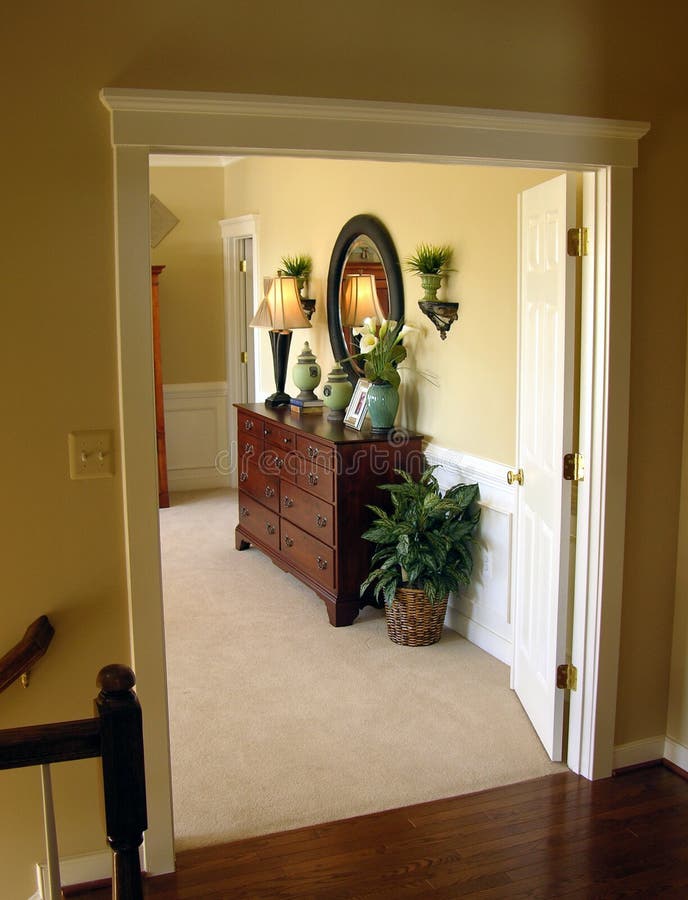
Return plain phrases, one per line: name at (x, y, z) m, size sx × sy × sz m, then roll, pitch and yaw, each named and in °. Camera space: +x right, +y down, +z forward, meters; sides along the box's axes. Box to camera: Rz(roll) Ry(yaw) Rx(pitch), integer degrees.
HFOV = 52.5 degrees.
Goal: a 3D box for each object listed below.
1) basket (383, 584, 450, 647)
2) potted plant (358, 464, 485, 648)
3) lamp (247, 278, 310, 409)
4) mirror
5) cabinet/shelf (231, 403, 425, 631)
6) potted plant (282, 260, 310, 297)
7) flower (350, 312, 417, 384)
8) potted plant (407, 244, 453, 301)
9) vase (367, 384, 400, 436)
basket at (0.345, 0.795, 3.463) m, size 0.249 × 0.244 × 0.300 m, roll 0°, pitch 1°, yaw -6°
potted plant at (0.365, 0.523, 3.437) m, size 0.596 × 0.858 × 0.503 m, roll 0°, pitch 6°, yaw 9°
lamp at (-0.447, -0.793, 4.909) m, size 0.389 × 0.963 × 0.672 m, roll -1°, pitch 6°, yaw -6°
mirror at (0.145, -0.914, 4.094) m, size 0.078 × 1.171 × 0.986 m, roll -2°, pitch -4°, yaw -20°
cabinet/shelf at (-0.056, 0.370, 3.780) m, size 0.360 × 0.729 × 1.012 m, roll -2°, pitch 12°, yaw -21°
potted plant at (-0.331, -1.257, 5.160) m, size 0.244 × 0.310 × 0.276 m, roll 1°, pitch 13°, yaw 15°
flower at (0.207, -0.555, 3.731) m, size 0.314 × 0.378 × 0.310 m, roll -8°, pitch 10°, yaw -28°
potted plant at (0.420, -0.905, 3.511) m, size 0.249 × 0.290 × 0.250 m, roll -3°, pitch 15°, yaw -13°
vase at (0.208, -0.242, 3.861) m, size 0.204 × 0.332 × 0.227 m, roll 0°, pitch 14°, yaw 1°
